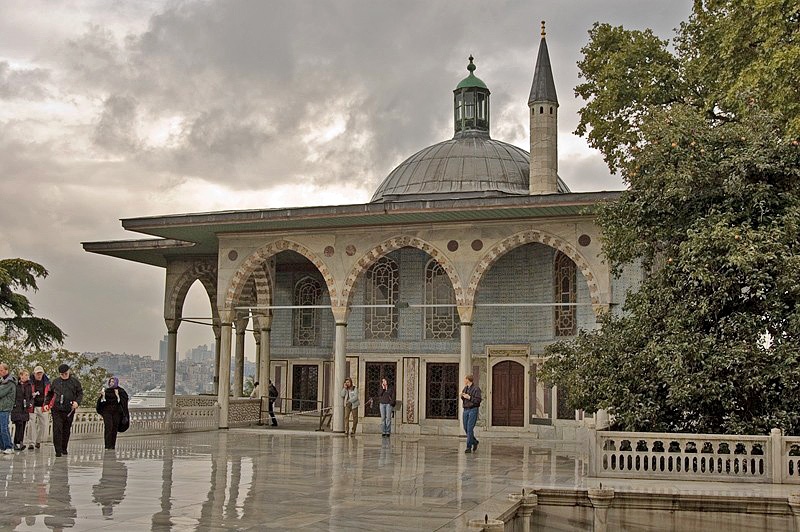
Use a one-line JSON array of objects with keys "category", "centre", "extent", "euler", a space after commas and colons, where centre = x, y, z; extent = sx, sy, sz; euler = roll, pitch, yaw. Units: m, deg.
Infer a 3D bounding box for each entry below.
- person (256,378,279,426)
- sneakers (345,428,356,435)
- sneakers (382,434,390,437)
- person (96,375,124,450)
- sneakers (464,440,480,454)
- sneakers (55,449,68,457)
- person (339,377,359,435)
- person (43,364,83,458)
[{"category": "person", "centre": [-3.420, 3.497, 26.827], "extent": [0.605, 1.182, 0.360], "euler": [-6, -51, -5]}, {"category": "sneakers", "centre": [-1.098, 3.681, 23.230], "extent": [0.264, 0.184, 0.147], "euler": [0, -16, 1]}, {"category": "sneakers", "centre": [-0.302, 3.694, 22.932], "extent": [0.112, 0.061, 0.186], "euler": [-1, -10, 2]}, {"category": "person", "centre": [-5.338, 2.681, 19.387], "extent": [0.596, 1.419, 1.398], "euler": [4, -12, -15]}, {"category": "sneakers", "centre": [1.367, 3.458, 19.899], "extent": [0.128, 0.182, 0.406], "euler": [-7, -18, 19]}, {"category": "sneakers", "centre": [-5.763, 3.138, 17.780], "extent": [0.158, 0.078, 0.226], "euler": [3, -2, -19]}, {"category": "person", "centre": [-1.120, 3.119, 23.215], "extent": [0.343, 1.206, 0.941], "euler": [2, -11, -3]}, {"category": "person", "centre": [-5.776, 2.463, 17.939], "extent": [0.497, 1.567, 0.638], "euler": [8, -13, -33]}]
